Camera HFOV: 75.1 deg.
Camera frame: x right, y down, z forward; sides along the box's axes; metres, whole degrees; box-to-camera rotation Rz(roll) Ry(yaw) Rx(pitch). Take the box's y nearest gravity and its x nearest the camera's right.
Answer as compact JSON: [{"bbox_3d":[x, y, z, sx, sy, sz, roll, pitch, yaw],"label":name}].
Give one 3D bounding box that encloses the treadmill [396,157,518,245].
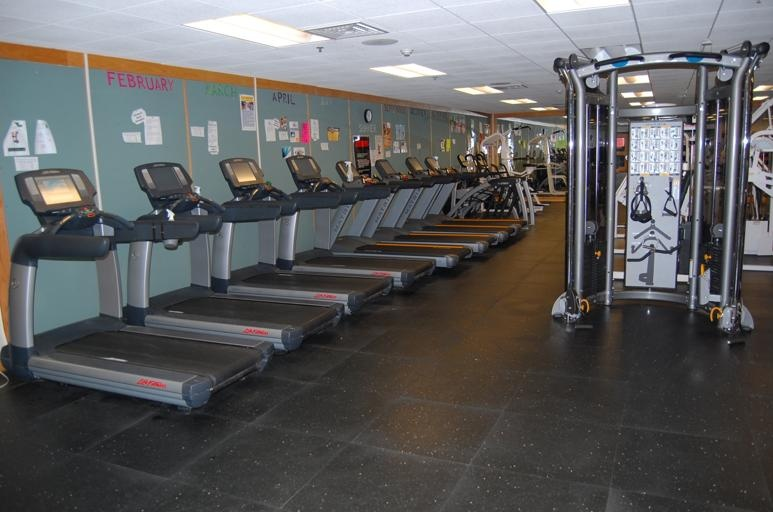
[{"bbox_3d":[1.282,-1.301,11.515,3.040,1.800,3.342,3,11,18],"label":"treadmill"}]
